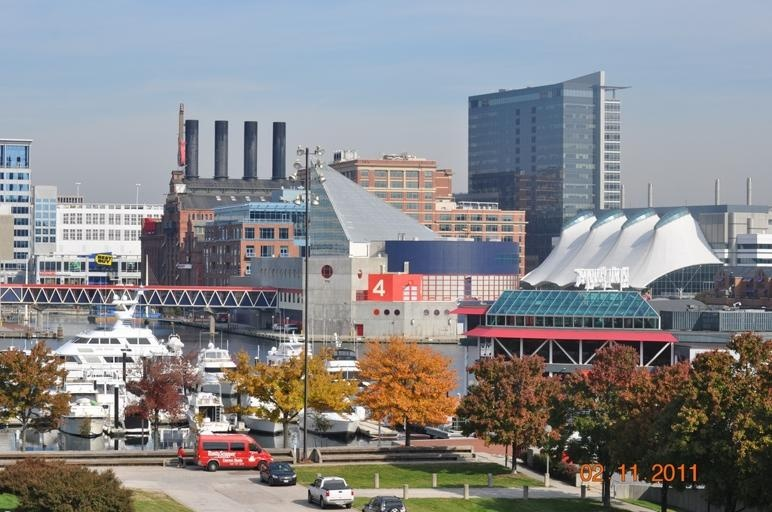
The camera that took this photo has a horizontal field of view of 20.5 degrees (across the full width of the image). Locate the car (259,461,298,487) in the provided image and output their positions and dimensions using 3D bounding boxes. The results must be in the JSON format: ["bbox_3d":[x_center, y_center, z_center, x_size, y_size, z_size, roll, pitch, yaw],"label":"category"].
[{"bbox_3d":[-9.584,20.555,196.490,3.325,1.748,1.686,8,12,7],"label":"car"}]

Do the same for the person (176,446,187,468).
[{"bbox_3d":[-18.756,19.202,200.406,0.844,1.698,1.572,6,12,-10],"label":"person"}]

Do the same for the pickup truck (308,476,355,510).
[{"bbox_3d":[-4.719,21.810,192.715,3.968,2.584,1.952,7,12,0],"label":"pickup truck"}]
